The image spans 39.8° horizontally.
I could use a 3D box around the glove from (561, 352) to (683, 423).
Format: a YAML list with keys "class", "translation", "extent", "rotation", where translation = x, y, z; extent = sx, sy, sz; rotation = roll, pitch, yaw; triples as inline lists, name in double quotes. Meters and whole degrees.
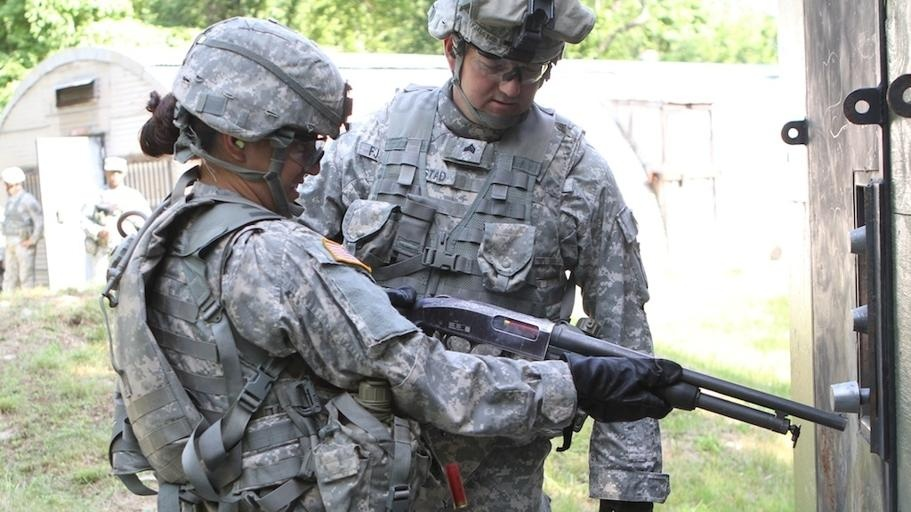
- class: "glove"
  translation: [1.688, 1.317, 12.535]
  extent: [1.003, 0.633, 0.411]
  rotation: [2, -5, -8]
